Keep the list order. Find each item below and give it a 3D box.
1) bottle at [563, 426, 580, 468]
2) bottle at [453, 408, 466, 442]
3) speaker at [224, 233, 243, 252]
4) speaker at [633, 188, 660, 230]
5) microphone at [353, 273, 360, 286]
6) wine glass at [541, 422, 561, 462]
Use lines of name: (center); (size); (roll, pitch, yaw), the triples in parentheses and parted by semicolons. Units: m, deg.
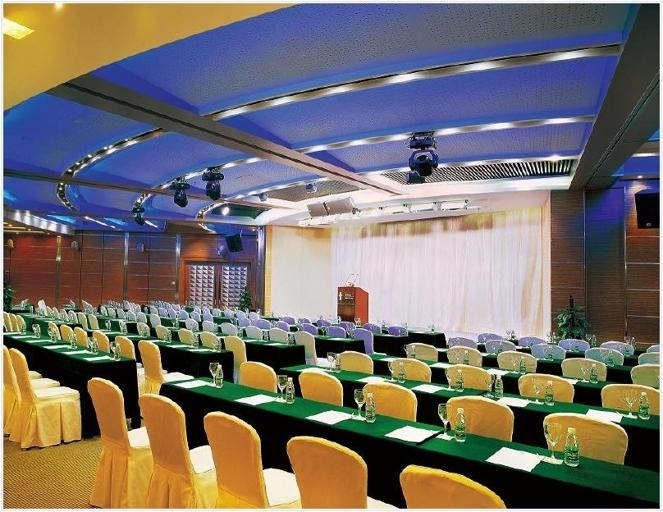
bottle: (1.514, 1.187, 2.831); (0.083, 0.216, 0.204); (1, -4, 28)
bottle: (0.902, 1.164, 3.143); (0.074, 0.222, 0.184); (2, -4, 15)
speaker: (-3.946, -0.527, 18.212); (0.781, 0.702, 0.557); (5, 19, 38)
speaker: (6.328, -0.984, 9.012); (0.390, 0.775, 0.805); (0, -4, 37)
microphone: (0.894, 0.848, 16.359); (0.263, 0.422, 0.125); (3, -1, 39)
wine glass: (1.431, 1.185, 2.921); (0.084, 0.216, 0.271); (1, -4, 26)
